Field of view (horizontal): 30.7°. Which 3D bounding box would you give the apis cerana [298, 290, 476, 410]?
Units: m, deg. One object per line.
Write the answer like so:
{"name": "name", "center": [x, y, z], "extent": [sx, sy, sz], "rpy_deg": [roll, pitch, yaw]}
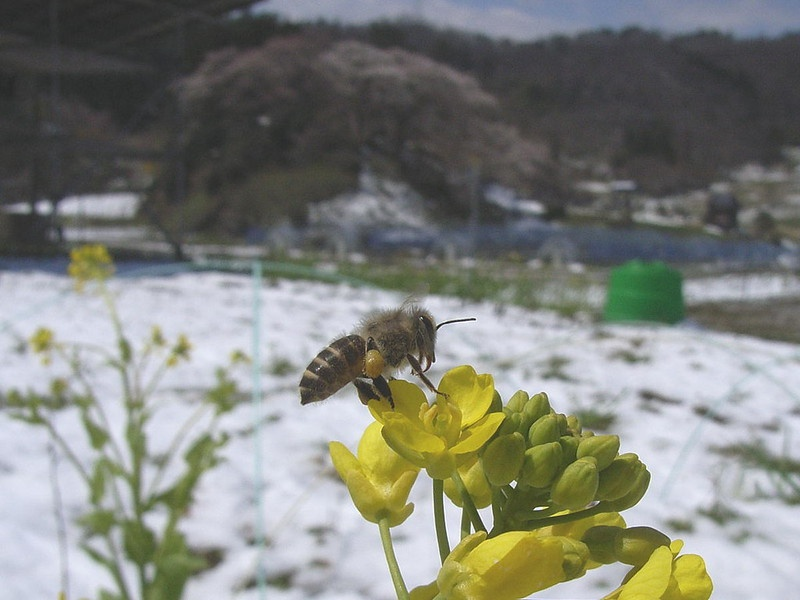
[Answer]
{"name": "apis cerana", "center": [-0.135, 0.336, 9.236], "extent": [1.088, 0.578, 0.514], "rpy_deg": [-10, 3, -15]}

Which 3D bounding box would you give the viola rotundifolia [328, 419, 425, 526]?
{"name": "viola rotundifolia", "center": [-0.150, 1.055, 8.882], "extent": [0.576, 0.383, 0.617], "rpy_deg": [-9, 37, -10]}
